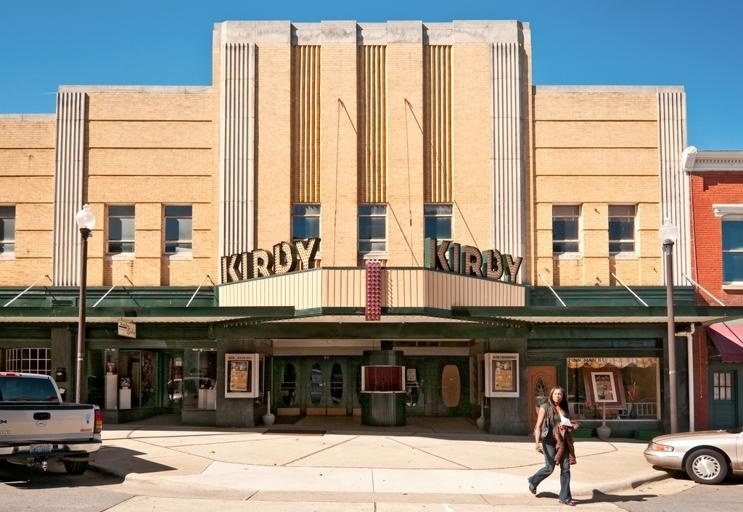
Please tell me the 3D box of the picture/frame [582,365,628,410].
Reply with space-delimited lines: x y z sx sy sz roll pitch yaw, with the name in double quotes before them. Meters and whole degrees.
"picture/frame" 8.998 5.108 54.084 1.539 1.483 0.566 1 10 -3
